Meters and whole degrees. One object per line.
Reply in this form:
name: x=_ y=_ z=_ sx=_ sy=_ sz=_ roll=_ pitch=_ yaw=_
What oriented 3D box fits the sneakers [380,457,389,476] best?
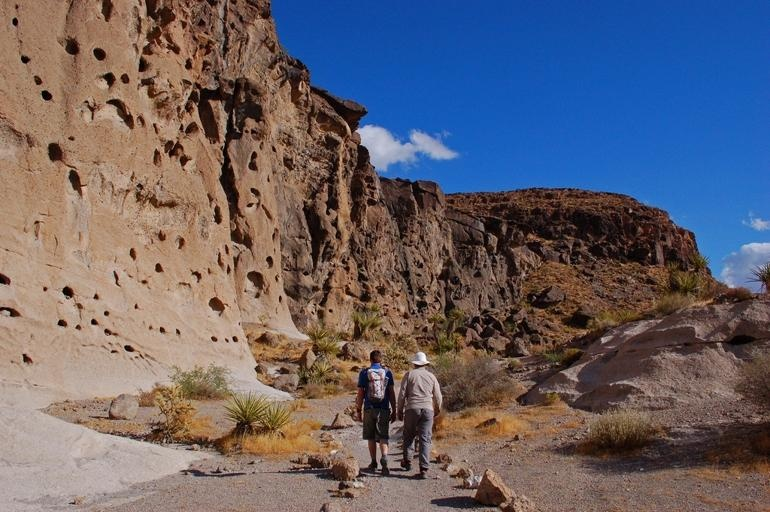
sneakers: x=-0.012 y=5.153 z=18.352 sx=0.169 sy=0.429 sz=0.276 roll=-5 pitch=2 yaw=1

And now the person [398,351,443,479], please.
person: x=0.827 y=3.917 z=18.695 sx=1.090 sy=3.012 sz=0.876 roll=3 pitch=-6 yaw=1

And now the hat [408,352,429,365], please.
hat: x=0.913 y=2.610 z=18.929 sx=0.451 sy=0.301 sz=0.532 roll=1 pitch=-2 yaw=24

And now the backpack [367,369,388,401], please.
backpack: x=-0.239 y=3.222 z=18.705 sx=0.526 sy=0.874 sz=0.474 roll=6 pitch=-8 yaw=-39

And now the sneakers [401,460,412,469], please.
sneakers: x=0.530 y=5.181 z=18.517 sx=0.235 sy=0.259 sz=0.189 roll=-12 pitch=-9 yaw=36

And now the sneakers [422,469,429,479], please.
sneakers: x=1.004 y=5.323 z=18.225 sx=0.161 sy=0.198 sz=0.311 roll=-1 pitch=-9 yaw=37
